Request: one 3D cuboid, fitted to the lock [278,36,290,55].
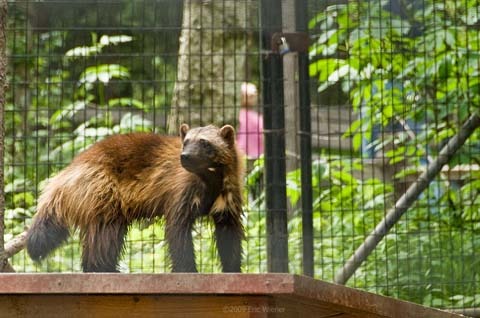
[{"bbox_3d":[0.513,-1.290,10.531,0.124,0.196,0.049,1,3,21],"label":"lock"}]
